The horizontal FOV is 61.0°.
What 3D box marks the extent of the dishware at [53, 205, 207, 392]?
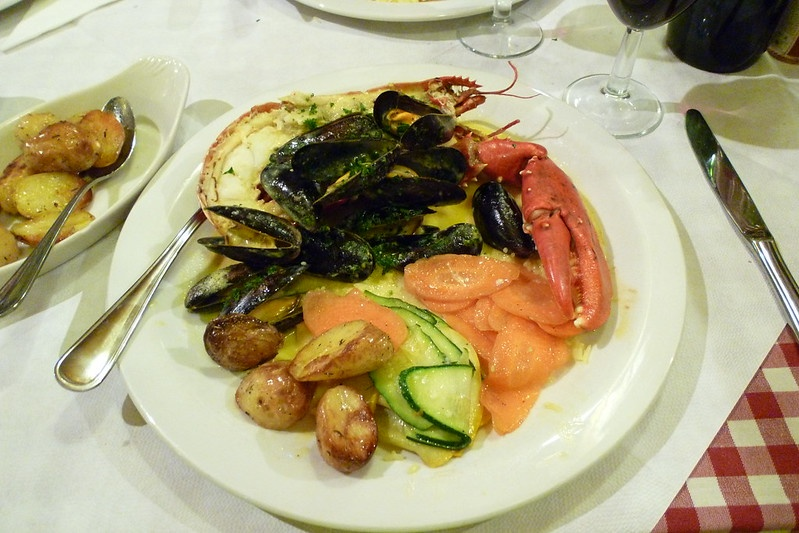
[{"bbox_3d":[-0.959,0.027,2.631,0.172,0.076,1.110,23,50,-1],"label":"dishware"}]
